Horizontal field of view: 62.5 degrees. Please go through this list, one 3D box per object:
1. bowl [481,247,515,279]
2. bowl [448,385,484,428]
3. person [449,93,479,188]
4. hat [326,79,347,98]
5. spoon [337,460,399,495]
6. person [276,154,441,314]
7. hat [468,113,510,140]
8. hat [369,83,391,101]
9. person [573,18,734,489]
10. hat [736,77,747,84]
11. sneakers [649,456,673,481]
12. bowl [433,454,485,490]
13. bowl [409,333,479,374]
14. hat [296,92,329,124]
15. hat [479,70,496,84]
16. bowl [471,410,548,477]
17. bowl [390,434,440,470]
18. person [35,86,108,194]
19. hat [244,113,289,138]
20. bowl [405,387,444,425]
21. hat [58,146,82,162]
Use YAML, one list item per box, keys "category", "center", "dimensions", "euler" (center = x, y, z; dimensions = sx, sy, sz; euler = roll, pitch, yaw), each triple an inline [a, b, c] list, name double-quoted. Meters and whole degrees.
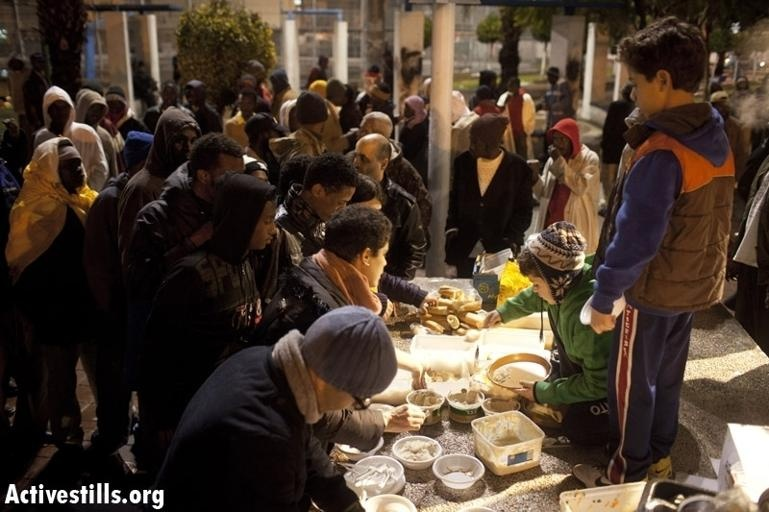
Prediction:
- category: "bowl"
  center: [0.994, 0.061, 5.633]
  dimensions: [0.243, 0.154, 0.248]
  euler: [-12, 28, 7]
- category: "bowl"
  center: [0.576, 1.035, 4.432]
  dimensions: [0.218, 0.191, 0.225]
  euler: [-1, 11, 0]
- category: "person"
  center: [0.951, -1.467, 8.160]
  dimensions: [0.350, 1.010, 0.742]
  euler: [13, 20, 5]
- category: "hat"
  center: [-0.756, -2.588, 9.866]
  dimensions: [0.295, 0.296, 0.233]
  euler: [0, 11, -6]
- category: "spoon"
  center: [-0.076, 1.388, 3.972]
  dimensions: [0.212, 0.065, 0.213]
  euler: [2, 19, 2]
- category: "person"
  center: [-0.281, -0.296, 4.720]
  dimensions: [1.309, 0.801, 0.786]
  euler: [27, 42, 18]
- category: "hat"
  center: [1.077, -1.304, 6.519]
  dimensions: [0.352, 0.280, 0.242]
  euler: [-13, 38, 21]
- category: "hat"
  center: [-0.053, -2.444, 9.487]
  dimensions: [0.291, 0.257, 0.221]
  euler: [-2, 11, -12]
- category: "person"
  center: [1.690, 0.014, 4.006]
  dimensions: [0.949, 2.925, 0.489]
  euler: [-6, 13, -31]
- category: "hat"
  center: [5.467, -2.674, 9.686]
  dimensions: [0.087, 0.032, 0.085]
  euler: [11, -8, 16]
- category: "sneakers"
  center: [1.793, 1.383, 4.126]
  dimensions: [0.084, 0.152, 0.116]
  euler: [11, 57, 33]
- category: "bowl"
  center: [0.468, 1.368, 4.014]
  dimensions: [0.320, 0.166, 0.178]
  euler: [2, 11, 8]
- category: "bowl"
  center: [0.452, 0.753, 4.786]
  dimensions: [0.523, 0.215, 0.369]
  euler: [1, 11, 2]
- category: "hat"
  center: [-0.756, -1.563, 6.856]
  dimensions: [0.328, 0.281, 0.320]
  euler: [9, 32, 14]
- category: "hat"
  center: [1.855, -3.172, 11.356]
  dimensions: [0.287, 0.294, 0.474]
  euler: [1, 11, 3]
- category: "bowl"
  center: [0.809, 1.220, 4.176]
  dimensions: [0.371, 0.202, 0.483]
  euler: [-8, 10, -7]
- category: "bowl"
  center: [0.214, 1.243, 4.170]
  dimensions: [0.303, 0.317, 0.098]
  euler: [-7, 42, 14]
- category: "person"
  center: [-3.394, -1.145, 6.666]
  dimensions: [0.803, 1.178, 0.656]
  euler: [-8, 6, -22]
- category: "hat"
  center: [-1.333, -1.469, 7.092]
  dimensions: [0.381, 0.201, 0.255]
  euler: [-7, 20, -17]
- category: "bowl"
  center: [0.280, 1.057, 4.390]
  dimensions: [0.241, 0.116, 0.230]
  euler: [4, 11, -1]
- category: "hat"
  center: [-2.543, -0.828, 5.123]
  dimensions: [0.142, 0.113, 0.111]
  euler: [-22, 15, 11]
